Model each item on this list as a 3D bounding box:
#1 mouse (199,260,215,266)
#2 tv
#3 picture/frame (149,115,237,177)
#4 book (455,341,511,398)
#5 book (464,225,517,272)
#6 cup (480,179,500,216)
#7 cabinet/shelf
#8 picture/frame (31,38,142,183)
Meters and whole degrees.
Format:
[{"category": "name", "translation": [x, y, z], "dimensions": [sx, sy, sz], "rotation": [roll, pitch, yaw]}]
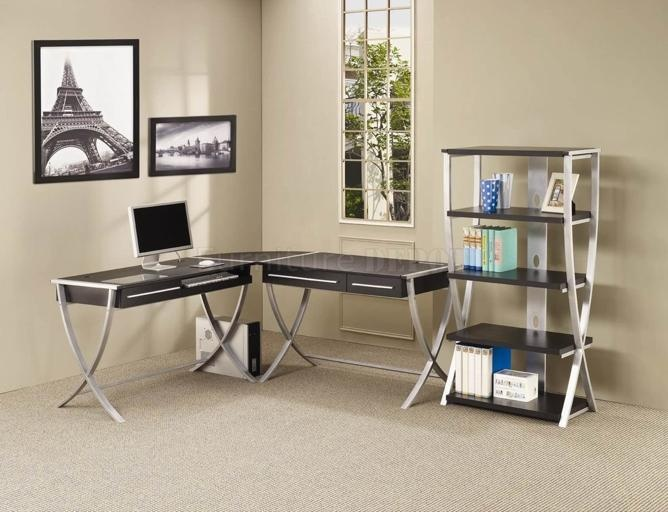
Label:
[{"category": "mouse", "translation": [-1.087, 0.055, 4.869], "dimensions": [0.061, 0.026, 0.085], "rotation": [5, 9, 30]}, {"category": "tv", "translation": [-1.495, -0.182, 4.858], "dimensions": [0.169, 0.535, 0.590], "rotation": [2, 8, 31]}, {"category": "picture/frame", "translation": [-1.458, -1.163, 5.908], "dimensions": [0.069, 0.652, 1.042], "rotation": [5, 8, 42]}, {"category": "book", "translation": [1.158, 0.820, 4.508], "dimensions": [0.358, 0.492, 0.496], "rotation": [1, 1, 35]}, {"category": "book", "translation": [1.174, -0.049, 4.406], "dimensions": [0.396, 0.395, 0.345], "rotation": [1, 1, 40]}, {"category": "cup", "translation": [1.171, -0.458, 4.282], "dimensions": [0.143, 0.252, 0.226], "rotation": [2, 7, 23]}, {"category": "cabinet/shelf", "translation": [1.447, 0.145, 4.379], "dimensions": [1.125, 2.037, 0.733], "rotation": [2, 6, 25]}, {"category": "picture/frame", "translation": [-2.272, -1.315, 5.054], "dimensions": [1.062, 1.295, 0.522], "rotation": [-2, -7, -4]}]
